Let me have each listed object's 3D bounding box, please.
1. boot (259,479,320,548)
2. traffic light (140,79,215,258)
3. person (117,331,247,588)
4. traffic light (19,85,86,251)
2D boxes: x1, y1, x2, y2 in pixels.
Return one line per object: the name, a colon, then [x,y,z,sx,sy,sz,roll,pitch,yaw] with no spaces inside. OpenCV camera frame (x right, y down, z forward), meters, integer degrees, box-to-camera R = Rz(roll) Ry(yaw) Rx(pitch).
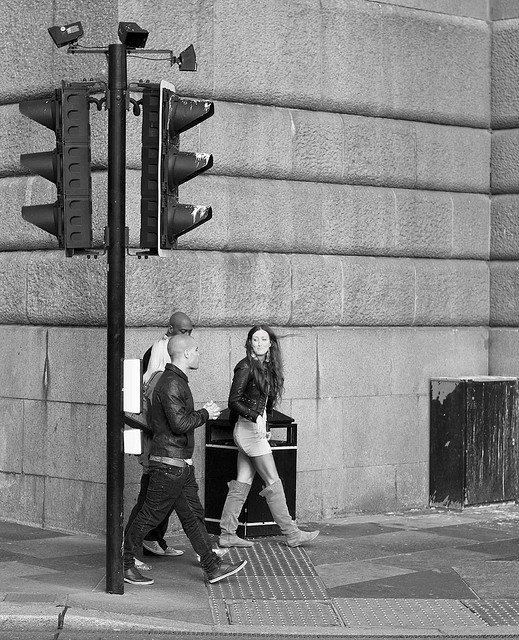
boot: [0.211,1.431,10.908,0.450,0.498,0.200,1,0,-31]
traffic light: [-0.545,-0.965,9.223,0.443,1.068,0.473,1,0,-15]
person: [-0.527,0.907,10.084,0.785,1.589,1.838,1,0,-1]
traffic light: [-1.286,-0.958,9.068,0.476,0.965,0.143,1,0,30]
